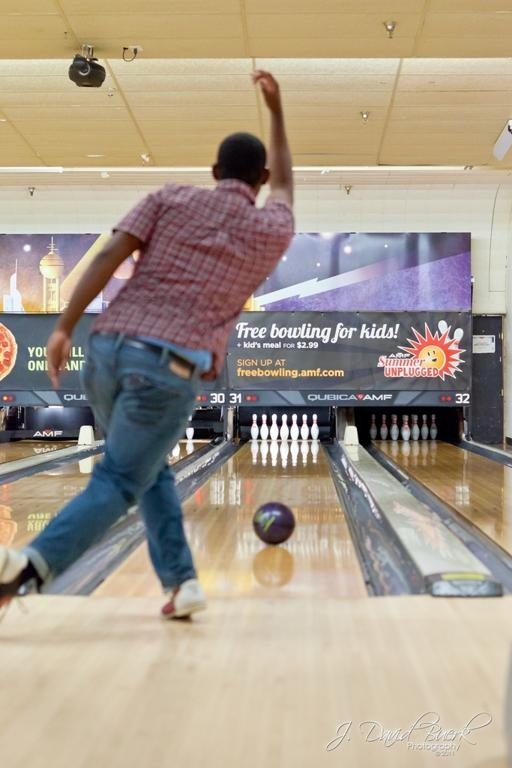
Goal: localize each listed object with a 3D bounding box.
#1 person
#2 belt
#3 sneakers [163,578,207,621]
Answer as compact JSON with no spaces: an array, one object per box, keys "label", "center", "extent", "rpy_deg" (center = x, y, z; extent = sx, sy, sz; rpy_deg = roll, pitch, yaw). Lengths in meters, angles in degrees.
[{"label":"person","center":[-0.176,-0.060,0.977],"extent":[0.485,0.846,0.223],"rpy_deg":[-1,-4,3]},{"label":"belt","center":[-0.149,-0.049,0.937],"extent":[0.101,0.035,0.090],"rpy_deg":[22,0,17]},{"label":"sneakers","center":[-0.169,0.464,1.204],"extent":[0.054,0.066,0.144],"rpy_deg":[13,-39,-31]}]
